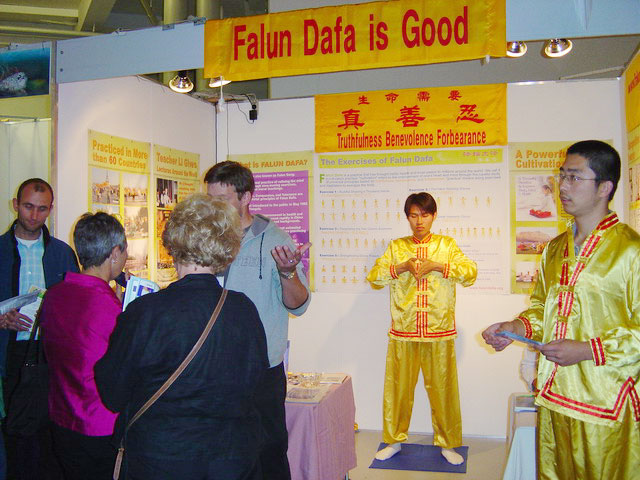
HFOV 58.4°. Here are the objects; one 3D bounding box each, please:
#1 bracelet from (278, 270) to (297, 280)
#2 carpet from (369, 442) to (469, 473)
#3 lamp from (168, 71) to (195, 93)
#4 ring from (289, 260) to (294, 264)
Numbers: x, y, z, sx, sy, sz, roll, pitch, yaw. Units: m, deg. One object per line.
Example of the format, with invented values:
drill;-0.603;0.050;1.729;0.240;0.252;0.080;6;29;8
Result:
bracelet;-0.160;0.178;2.875;0.079;0.043;0.099;2;-2;-3
carpet;0.838;1.828;4.802;0.790;0.072;0.562;2;-2;12
lamp;-1.273;-1.442;5.253;0.200;0.212;0.377;2;-2;-12
ring;-0.128;0.105;2.727;0.016;0.018;0.005;2;-2;-13
